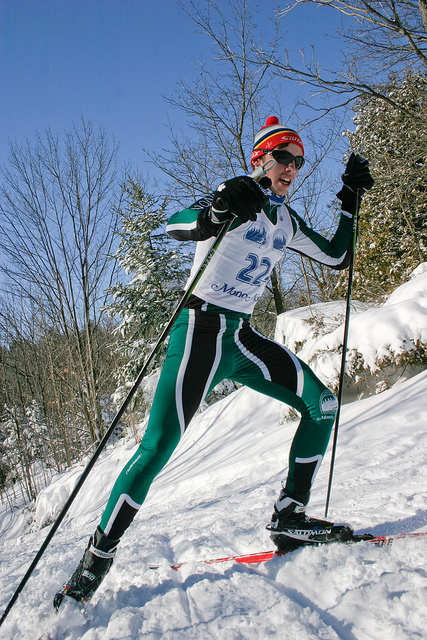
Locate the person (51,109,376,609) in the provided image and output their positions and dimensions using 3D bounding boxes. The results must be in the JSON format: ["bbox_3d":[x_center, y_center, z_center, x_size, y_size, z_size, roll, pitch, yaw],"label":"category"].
[{"bbox_3d":[0.057,0.196,2.321,1.506,2.326,0.995,4,-4,-19],"label":"person"}]
